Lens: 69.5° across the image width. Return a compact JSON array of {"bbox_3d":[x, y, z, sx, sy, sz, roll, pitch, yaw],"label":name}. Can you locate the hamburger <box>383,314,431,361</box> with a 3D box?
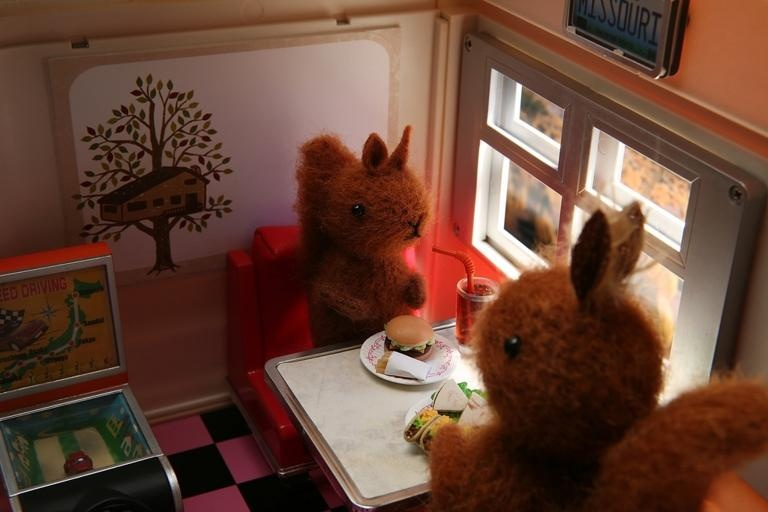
[{"bbox_3d":[0.080,0.272,1.940,0.143,0.085,0.144,-18,35,-27],"label":"hamburger"}]

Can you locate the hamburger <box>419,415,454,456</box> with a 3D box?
[{"bbox_3d":[0.165,0.524,1.608,0.121,0.042,0.097,16,5,34],"label":"hamburger"}]

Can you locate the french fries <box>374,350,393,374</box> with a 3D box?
[{"bbox_3d":[-0.007,0.367,1.886,0.028,0.057,0.076,27,39,1],"label":"french fries"}]
